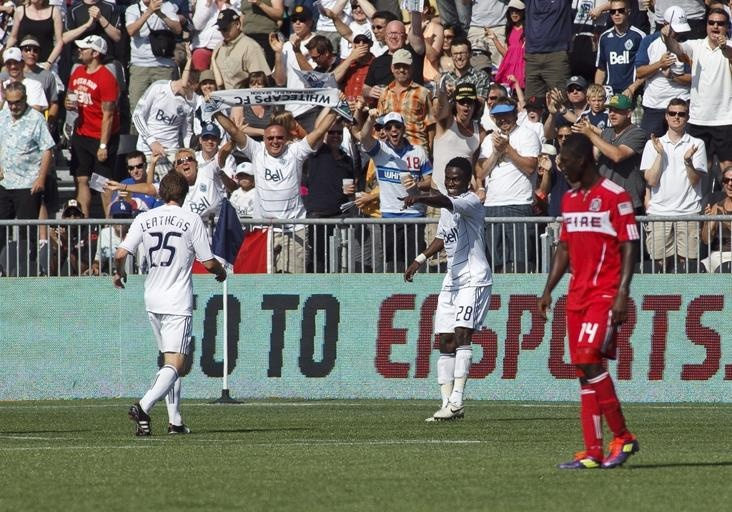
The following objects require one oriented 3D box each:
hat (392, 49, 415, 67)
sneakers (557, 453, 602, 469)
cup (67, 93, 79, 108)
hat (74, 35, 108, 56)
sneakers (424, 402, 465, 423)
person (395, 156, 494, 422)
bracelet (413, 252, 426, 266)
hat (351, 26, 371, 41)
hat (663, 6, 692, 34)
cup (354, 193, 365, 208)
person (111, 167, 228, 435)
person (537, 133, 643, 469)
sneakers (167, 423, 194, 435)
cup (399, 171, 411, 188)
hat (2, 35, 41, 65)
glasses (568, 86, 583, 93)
[{"bbox_3d":[0.531,-3.028,30.999,0.291,0.189,0.434,0,7,6],"label":"hat"},{"bbox_3d":[2.574,2.538,24.368,0.562,0.232,0.201,2,-5,-5],"label":"sneakers"},{"bbox_3d":[-4.978,-2.583,33.734,0.196,0.206,0.196,5,16,-1],"label":"cup"},{"bbox_3d":[-4.646,-3.546,33.756,0.478,0.254,0.340,15,12,-17],"label":"hat"},{"bbox_3d":[1.007,2.200,27.343,0.584,0.276,0.210,2,-5,-40],"label":"sneakers"},{"bbox_3d":[1.126,0.485,27.399,0.859,3.609,1.363,1,2,27],"label":"person"},{"bbox_3d":[0.745,0.069,28.036,0.151,0.146,0.133,-10,3,44],"label":"bracelet"},{"bbox_3d":[-0.054,-3.716,34.098,0.330,0.198,0.262,16,17,42],"label":"hat"},{"bbox_3d":[4.854,-3.677,31.656,0.287,0.457,0.231,-20,-27,-14],"label":"hat"},{"bbox_3d":[-0.125,-0.831,30.709,0.190,0.192,0.146,2,0,9],"label":"cup"},{"bbox_3d":[-2.614,0.648,26.520,1.376,3.468,0.810,0,2,-5],"label":"person"},{"bbox_3d":[2.811,0.780,24.580,0.934,3.641,0.853,0,2,4],"label":"person"},{"bbox_3d":[-2.476,2.324,26.488,0.331,0.143,0.126,1,0,-37],"label":"sneakers"},{"bbox_3d":[0.544,-1.095,29.488,0.220,0.219,0.186,2,2,7],"label":"cup"},{"bbox_3d":[-5.896,-3.461,34.096,0.597,0.323,0.452,-12,7,-5],"label":"hat"},{"bbox_3d":[3.298,-2.657,32.216,0.152,0.110,0.254,-4,11,25],"label":"glasses"}]
